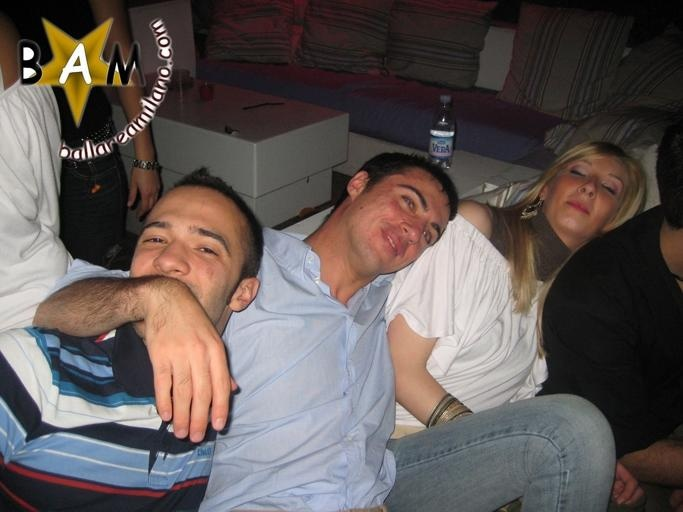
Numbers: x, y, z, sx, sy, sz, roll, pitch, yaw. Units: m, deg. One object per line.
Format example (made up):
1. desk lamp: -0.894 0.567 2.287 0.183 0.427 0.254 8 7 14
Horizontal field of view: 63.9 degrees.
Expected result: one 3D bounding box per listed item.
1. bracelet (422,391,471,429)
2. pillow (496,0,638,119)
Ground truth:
1. bracelet: 0.314 0.460 1.669 0.103 0.103 0.105 52 7 30
2. pillow: 1.356 -1.199 3.324 0.772 0.768 0.234 29 29 34
